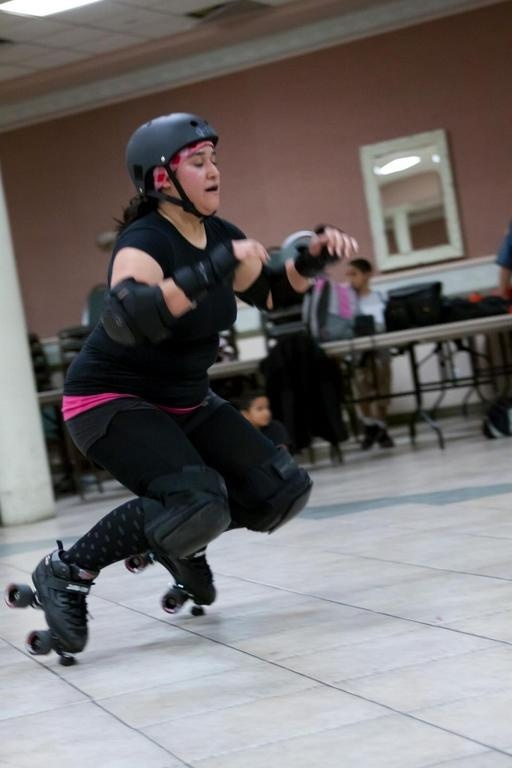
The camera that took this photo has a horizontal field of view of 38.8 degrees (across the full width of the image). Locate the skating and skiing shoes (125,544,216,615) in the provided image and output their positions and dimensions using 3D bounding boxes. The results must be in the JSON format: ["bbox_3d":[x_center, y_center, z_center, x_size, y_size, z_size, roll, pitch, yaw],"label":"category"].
[{"bbox_3d":[-0.168,0.403,1.475,0.082,0.141,0.187,-23,-22,-16],"label":"skating and skiing shoes"}]

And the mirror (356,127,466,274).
[{"bbox_3d":[0.743,-0.886,3.502,0.548,0.639,0.033,-5,8,39],"label":"mirror"}]

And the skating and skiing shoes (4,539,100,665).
[{"bbox_3d":[-0.351,0.385,1.287,0.115,0.199,0.148,-9,-6,-28],"label":"skating and skiing shoes"}]
